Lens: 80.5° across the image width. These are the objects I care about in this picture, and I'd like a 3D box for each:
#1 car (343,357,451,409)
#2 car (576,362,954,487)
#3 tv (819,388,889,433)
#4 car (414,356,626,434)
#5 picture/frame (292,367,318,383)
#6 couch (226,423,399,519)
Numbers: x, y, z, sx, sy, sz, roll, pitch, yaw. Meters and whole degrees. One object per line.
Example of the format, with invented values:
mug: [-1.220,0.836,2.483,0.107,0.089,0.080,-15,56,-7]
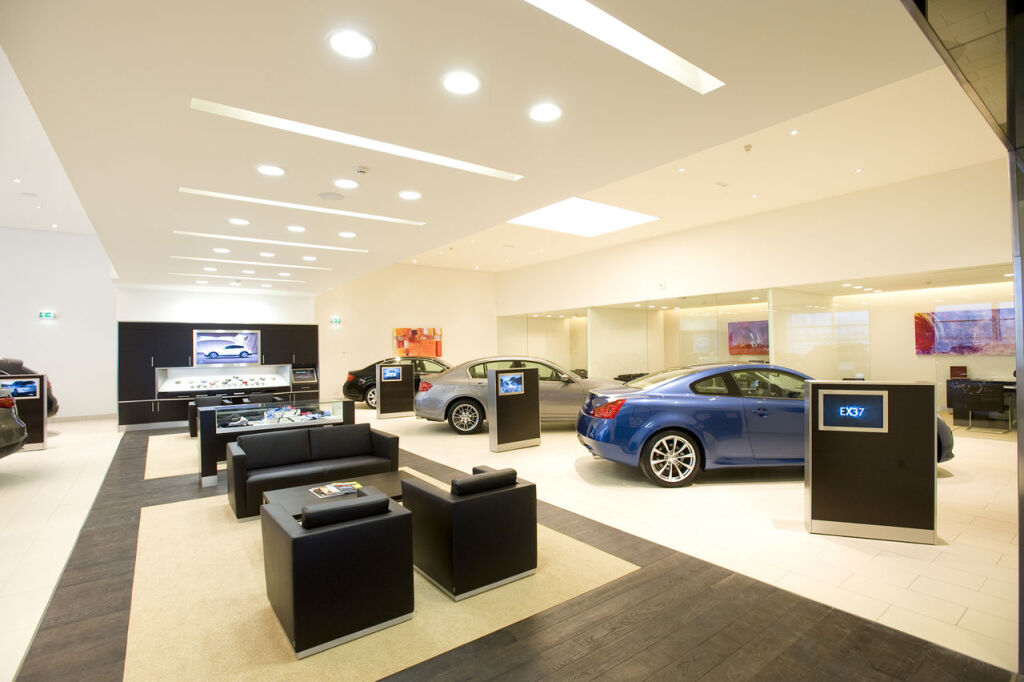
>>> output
car: [-2.699,0.966,14.609,2.602,0.794,1.159,-4,0,-15]
car: [3.184,1.038,8.177,4.345,1.325,1.847,-2,-2,-4]
tv: [3.630,0.725,6.327,0.507,0.332,0.022,0,0,22]
car: [0.055,0.959,11.190,3.566,1.083,1.582,-1,-3,-5]
picture/frame: [-4.940,0.817,14.436,0.694,0.431,0.353,3,-7,-42]
couch: [-2.535,1.568,7.731,1.985,0.804,0.827,-2,4,-32]
